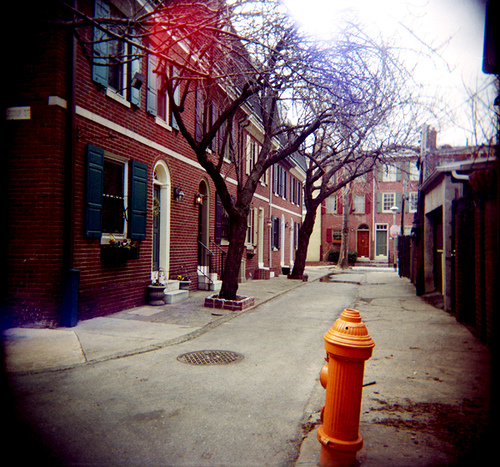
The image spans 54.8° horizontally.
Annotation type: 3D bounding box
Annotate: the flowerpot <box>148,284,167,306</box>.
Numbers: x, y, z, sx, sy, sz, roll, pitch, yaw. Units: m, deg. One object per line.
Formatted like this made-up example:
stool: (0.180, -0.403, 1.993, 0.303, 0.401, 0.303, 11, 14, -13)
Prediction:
flowerpot: (-2.320, 1.563, 12.084, 0.371, 0.485, 0.437, 1, -3, 3)

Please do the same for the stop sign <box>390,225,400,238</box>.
stop sign: (8.063, -0.116, 27.044, 0.681, 0.655, 0.901, 2, 10, 28)

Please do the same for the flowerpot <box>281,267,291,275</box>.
flowerpot: (1.933, 2.043, 26.191, 0.363, 0.473, 0.314, -1, -5, 7)

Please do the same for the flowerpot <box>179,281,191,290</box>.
flowerpot: (-1.846, 1.487, 13.753, 0.237, 0.247, 0.523, 2, 1, 23)
